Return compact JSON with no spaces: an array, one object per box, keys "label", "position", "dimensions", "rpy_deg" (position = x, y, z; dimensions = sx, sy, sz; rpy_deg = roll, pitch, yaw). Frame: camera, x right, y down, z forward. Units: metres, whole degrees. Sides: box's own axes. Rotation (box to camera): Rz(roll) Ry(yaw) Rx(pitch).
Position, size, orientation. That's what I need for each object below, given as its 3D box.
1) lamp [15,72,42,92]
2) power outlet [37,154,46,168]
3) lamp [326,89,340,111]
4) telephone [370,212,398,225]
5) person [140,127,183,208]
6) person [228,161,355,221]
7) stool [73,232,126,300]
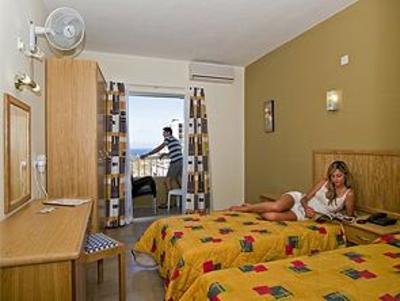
[{"label":"lamp","position":[-1.607,-0.640,3.085],"dimensions":[0.394,0.159,0.059],"rpy_deg":[10,17,18]},{"label":"power outlet","position":[-1.674,0.119,3.355],"dimensions":[0.089,0.153,0.120],"rpy_deg":[-7,9,-38]},{"label":"lamp","position":[1.823,-0.688,4.380],"dimensions":[0.086,0.290,0.242],"rpy_deg":[-4,7,-17]},{"label":"telephone","position":[1.962,0.733,3.428],"dimensions":[0.153,0.037,0.157],"rpy_deg":[0,7,42]},{"label":"person","position":[-0.696,0.373,6.620],"dimensions":[0.695,1.725,0.305],"rpy_deg":[-2,7,-4]},{"label":"person","position":[1.135,0.523,3.991],"dimensions":[1.477,0.734,0.544],"rpy_deg":[0,9,18]},{"label":"stool","position":[-0.985,1.155,3.117],"dimensions":[0.453,0.699,0.888],"rpy_deg":[-1,1,-21]}]
